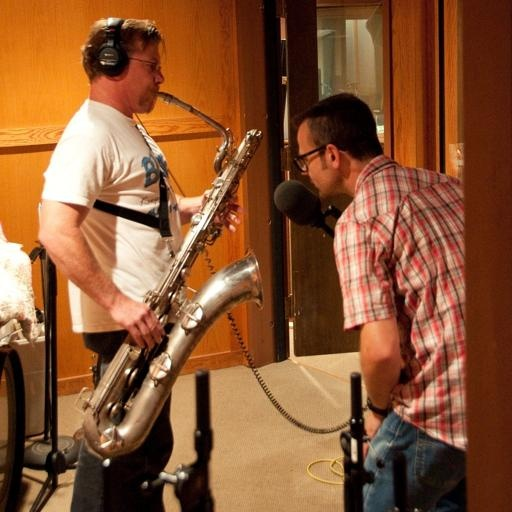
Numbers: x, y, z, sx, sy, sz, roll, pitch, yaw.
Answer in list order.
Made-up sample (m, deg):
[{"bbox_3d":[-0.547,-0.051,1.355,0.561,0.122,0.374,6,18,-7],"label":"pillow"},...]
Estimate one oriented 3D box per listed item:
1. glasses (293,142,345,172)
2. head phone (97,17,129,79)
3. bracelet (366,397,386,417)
[{"bbox_3d":[0.148,-0.273,1.631,0.082,0.056,0.062,7,15,17],"label":"glasses"},{"bbox_3d":[-0.427,-0.648,1.804,0.068,0.158,0.116,4,19,3],"label":"head phone"},{"bbox_3d":[0.281,0.355,1.382,0.039,0.015,0.030,33,-22,0],"label":"bracelet"}]
